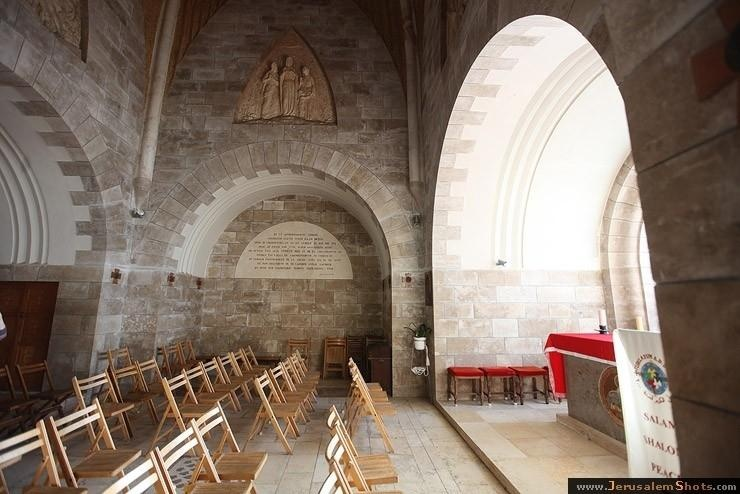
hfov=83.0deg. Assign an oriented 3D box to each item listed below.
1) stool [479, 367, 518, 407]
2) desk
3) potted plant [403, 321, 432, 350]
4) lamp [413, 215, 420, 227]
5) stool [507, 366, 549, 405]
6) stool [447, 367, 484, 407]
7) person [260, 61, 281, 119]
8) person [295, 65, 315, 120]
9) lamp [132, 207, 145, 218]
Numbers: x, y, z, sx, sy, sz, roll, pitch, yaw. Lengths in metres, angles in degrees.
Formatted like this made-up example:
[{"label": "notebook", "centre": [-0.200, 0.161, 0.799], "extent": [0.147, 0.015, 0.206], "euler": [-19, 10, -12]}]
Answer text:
[{"label": "stool", "centre": [2.247, 2.329, 7.053], "extent": [0.630, 0.660, 0.638], "euler": [-1, -17, 2]}, {"label": "desk", "centre": [2.679, 1.364, 5.468], "extent": [0.918, 0.769, 0.931], "euler": [-1, -4, 15]}, {"label": "potted plant", "centre": [0.896, 1.666, 7.739], "extent": [0.457, 0.527, 0.411], "euler": [-2, -6, 4]}, {"label": "lamp", "centre": [0.928, -0.523, 8.242], "extent": [0.159, 0.198, 0.040], "euler": [-3, -6, 11]}, {"label": "stool", "centre": [2.729, 2.315, 7.070], "extent": [0.728, 0.591, 0.561], "euler": [-2, -6, 6]}, {"label": "stool", "centre": [1.667, 2.295, 7.048], "extent": [0.595, 0.599, 0.594], "euler": [-1, -6, -1]}, {"label": "person", "centre": [-2.127, -3.327, 8.894], "extent": [0.394, 1.352, 0.183], "euler": [0, -6, -15]}, {"label": "person", "centre": [-1.360, -3.274, 8.916], "extent": [0.344, 1.237, 0.213], "euler": [-1, -6, -10]}, {"label": "lamp", "centre": [-4.535, -0.664, 8.142], "extent": [0.171, 0.194, 0.185], "euler": [-2, -6, 0]}]
